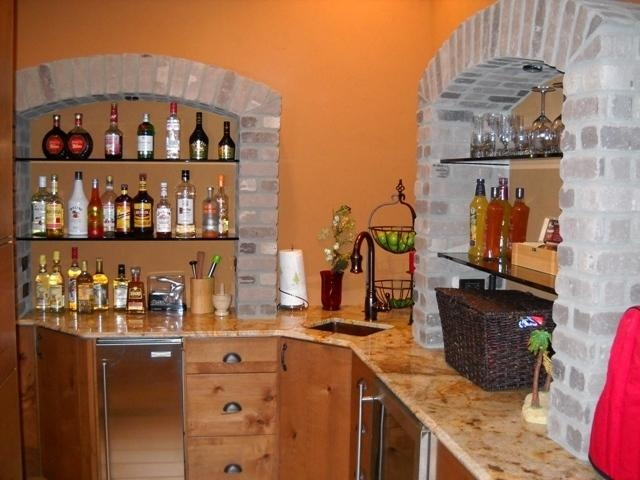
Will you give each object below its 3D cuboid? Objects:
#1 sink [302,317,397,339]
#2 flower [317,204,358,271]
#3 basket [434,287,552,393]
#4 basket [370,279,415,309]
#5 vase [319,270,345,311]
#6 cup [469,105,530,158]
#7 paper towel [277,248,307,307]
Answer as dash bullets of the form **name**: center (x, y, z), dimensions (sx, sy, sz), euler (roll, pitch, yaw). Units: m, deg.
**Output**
- **sink**: center (0.163, 0.513, 3.288), dimensions (0.459, 0.088, 0.188), euler (1, 10, 3)
- **flower**: center (0.114, -0.004, 3.595), dimensions (0.209, 0.433, 0.360), euler (1, 10, 3)
- **basket**: center (0.742, 0.415, 2.498), dimensions (0.418, 0.360, 0.432), euler (-1, 10, -7)
- **basket**: center (0.464, 0.338, 3.659), dimensions (0.201, 0.099, 0.202), euler (3, 6, 36)
- **vase**: center (0.071, 0.293, 3.602), dimensions (0.126, 0.265, 0.213), euler (0, 10, 0)
- **cup**: center (0.778, -0.440, 2.475), dimensions (0.138, 0.179, 0.289), euler (-3, 11, -18)
- **paper towel**: center (-0.163, 0.239, 3.551), dimensions (0.175, 0.363, 0.130), euler (0, 10, 0)
